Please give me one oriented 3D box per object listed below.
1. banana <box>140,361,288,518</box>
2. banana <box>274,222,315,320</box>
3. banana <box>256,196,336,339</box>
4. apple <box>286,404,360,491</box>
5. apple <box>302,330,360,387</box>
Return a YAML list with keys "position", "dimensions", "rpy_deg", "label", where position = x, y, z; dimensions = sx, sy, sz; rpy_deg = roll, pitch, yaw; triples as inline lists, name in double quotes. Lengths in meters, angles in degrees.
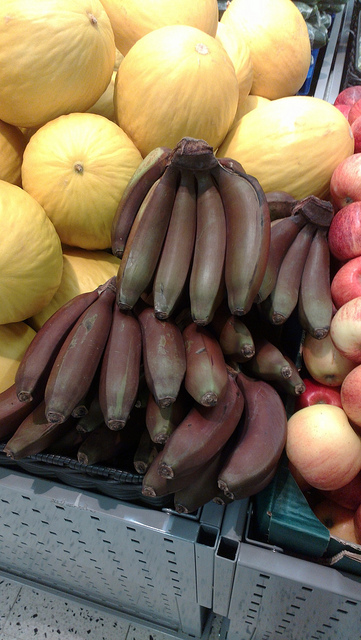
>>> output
- position: [0.082, 0.137, 0.674]
  dimensions: [0.159, 0.105, 0.298]
  rpy_deg: [-10, 35, 24]
  label: "banana"
- position: [0.185, -0.086, 0.743]
  dimensions: [0.041, 0.069, 0.212]
  rpy_deg: [9, 57, 18]
  label: "banana"
- position: [0.181, -0.087, 0.749]
  dimensions: [0.136, 0.065, 0.267]
  rpy_deg: [16, 49, 4]
  label: "banana"
- position: [0.214, 0.185, 0.740]
  dimensions: [0.113, 0.132, 0.125]
  rpy_deg: [10, 25, 16]
  label: "apple"
- position: [0.260, 0.063, 0.838]
  dimensions: [0.081, 0.084, 0.105]
  rpy_deg: [11, 59, -33]
  label: "apple"
